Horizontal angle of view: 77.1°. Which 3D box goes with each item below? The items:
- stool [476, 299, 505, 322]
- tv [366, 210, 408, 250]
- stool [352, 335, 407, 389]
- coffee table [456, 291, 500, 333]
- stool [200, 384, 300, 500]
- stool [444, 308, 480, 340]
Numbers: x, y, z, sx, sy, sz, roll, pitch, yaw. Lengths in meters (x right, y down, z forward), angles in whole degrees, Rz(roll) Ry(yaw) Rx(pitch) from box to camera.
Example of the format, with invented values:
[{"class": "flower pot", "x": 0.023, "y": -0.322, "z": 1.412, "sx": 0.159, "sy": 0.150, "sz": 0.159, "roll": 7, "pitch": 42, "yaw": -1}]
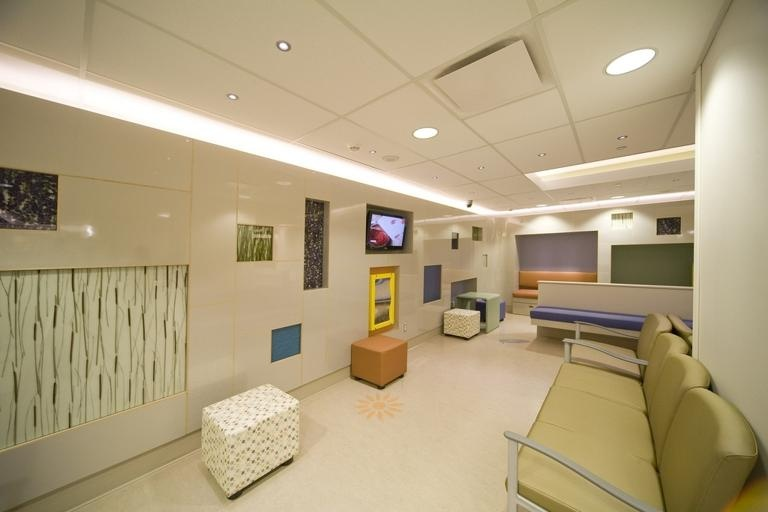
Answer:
[{"class": "stool", "x": 1.892, "y": 0.982, "z": 8.738, "sx": 0.501, "sy": 0.517, "sz": 0.515, "roll": 1, "pitch": 2, "yaw": 32}, {"class": "tv", "x": 0.030, "y": -0.349, "z": 6.799, "sx": 0.118, "sy": 0.568, "sz": 0.867, "roll": 1, "pitch": 2, "yaw": 32}, {"class": "stool", "x": -0.061, "y": 1.343, "z": 6.228, "sx": 0.556, "sy": 0.518, "sz": 0.542, "roll": 2, "pitch": 2, "yaw": 41}, {"class": "coffee table", "x": 1.773, "y": 0.933, "z": 8.573, "sx": 0.707, "sy": 0.690, "sz": 0.730, "roll": 3, "pitch": 4, "yaw": 40}, {"class": "stool", "x": -1.267, "y": 1.830, "z": 4.914, "sx": 0.662, "sy": 0.740, "sz": 0.892, "roll": -17, "pitch": 12, "yaw": -37}, {"class": "stool", "x": 1.323, "y": 1.136, "z": 8.180, "sx": 0.472, "sy": 0.372, "sz": 0.483, "roll": -1, "pitch": -1, "yaw": 24}]
